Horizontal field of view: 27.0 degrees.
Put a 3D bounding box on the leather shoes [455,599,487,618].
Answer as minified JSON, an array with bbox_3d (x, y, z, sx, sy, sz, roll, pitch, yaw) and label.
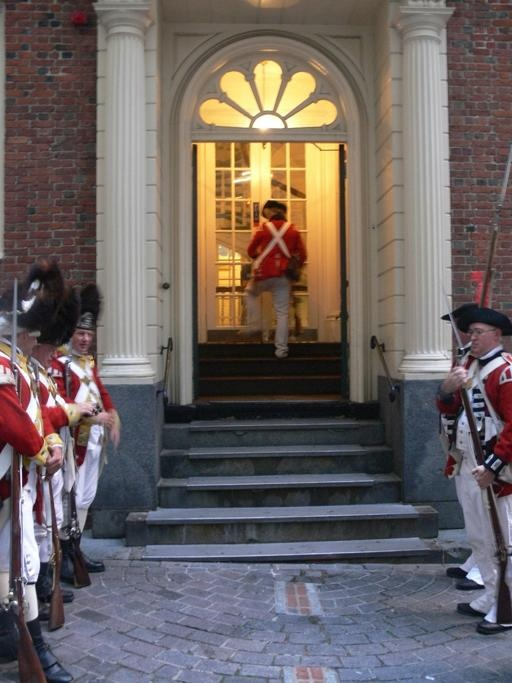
[{"bbox_3d":[1.230,1.520,6.110,0.168,0.054,0.060,0,5,28],"label":"leather shoes"}]

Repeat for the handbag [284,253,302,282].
[{"bbox_3d":[0.349,-0.658,10.408,0.159,0.218,0.057,11,-21,-17],"label":"handbag"}]

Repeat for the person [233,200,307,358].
[{"bbox_3d":[0.179,-0.576,10.373,0.572,1.488,1.029,-1,4,1],"label":"person"}]

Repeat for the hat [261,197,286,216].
[{"bbox_3d":[0.189,-1.311,11.013,0.452,0.130,0.527,0,3,2],"label":"hat"}]

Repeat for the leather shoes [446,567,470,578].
[{"bbox_3d":[1.255,1.434,6.677,0.127,0.040,0.054,-1,10,9],"label":"leather shoes"}]

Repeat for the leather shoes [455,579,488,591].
[{"bbox_3d":[1.303,1.469,6.518,0.159,0.049,0.058,-2,5,0],"label":"leather shoes"}]

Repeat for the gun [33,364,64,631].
[{"bbox_3d":[-1.135,0.871,5.818,0.085,1.437,0.248,-1,-8,-36],"label":"gun"}]
